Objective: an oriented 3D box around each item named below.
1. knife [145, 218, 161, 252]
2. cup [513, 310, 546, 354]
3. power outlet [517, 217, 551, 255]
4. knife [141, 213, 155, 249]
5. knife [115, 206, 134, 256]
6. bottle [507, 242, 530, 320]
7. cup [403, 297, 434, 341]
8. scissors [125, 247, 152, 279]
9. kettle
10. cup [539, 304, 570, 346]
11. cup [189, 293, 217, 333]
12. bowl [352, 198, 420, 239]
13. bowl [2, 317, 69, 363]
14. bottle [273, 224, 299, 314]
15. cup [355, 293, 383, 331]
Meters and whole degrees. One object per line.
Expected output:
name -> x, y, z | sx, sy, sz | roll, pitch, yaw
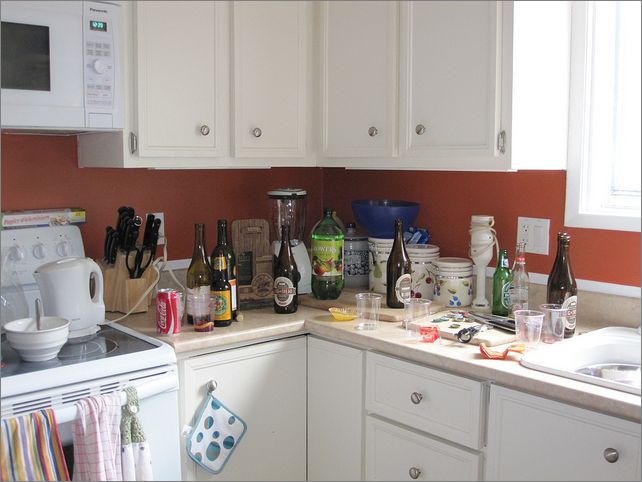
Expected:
knife -> -0.706, -0.026, 2.081 | 0.066, 0.171, 0.106 | -5, 8, -20
cup -> 0.694, 0.296, 1.656 | 0.105, 0.127, 0.111 | 2, 4, 0
power outlet -> 0.885, -0.020, 2.048 | 0.016, 0.164, 0.135 | -9, 12, -42
knife -> -0.716, -0.050, 2.070 | 0.048, 0.190, 0.036 | -5, 14, -35
knife -> -0.806, -0.049, 2.060 | 0.067, 0.178, 0.105 | -7, 9, -33
bottle -> 0.766, 0.152, 1.915 | 0.070, 0.289, 0.159 | 1, 8, 22
cup -> 0.339, 0.286, 1.807 | 0.112, 0.132, 0.118 | 2, -1, 0
scissors -> -0.754, 0.086, 2.053 | 0.122, 0.171, 0.015 | 0, 19, -27
kettle -> -0.868, 0.192, 1.849 | 0.289, 0.340, 0.205 | -4, 5, -44
cup -> 0.798, 0.288, 1.760 | 0.108, 0.131, 0.109 | 0, 4, 0
cup -> -0.440, 0.270, 1.922 | 0.112, 0.139, 0.119 | 1, -2, 0
bowl -> 0.318, -0.108, 2.418 | 0.332, 0.172, 0.310 | -2, 8, 0
bowl -> -0.906, 0.316, 1.614 | 0.175, 0.119, 0.152 | 1, 8, 24
bottle -> -0.149, 0.111, 2.142 | 0.113, 0.369, 0.199 | -2, 7, -4
cup -> 0.182, 0.266, 1.915 | 0.114, 0.134, 0.117 | 2, 4, 0
